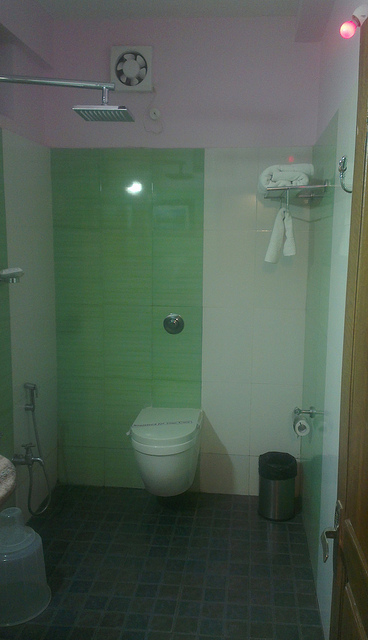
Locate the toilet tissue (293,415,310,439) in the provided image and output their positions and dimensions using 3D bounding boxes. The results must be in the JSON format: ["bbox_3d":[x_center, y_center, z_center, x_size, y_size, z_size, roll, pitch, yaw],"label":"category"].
[{"bbox_3d":[0.514,0.461,2.140,0.058,0.082,0.084,1,7,2],"label":"toilet tissue"}]

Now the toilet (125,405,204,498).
[{"bbox_3d":[-0.093,0.623,2.481,0.345,0.342,0.441,1,2,9],"label":"toilet"}]
